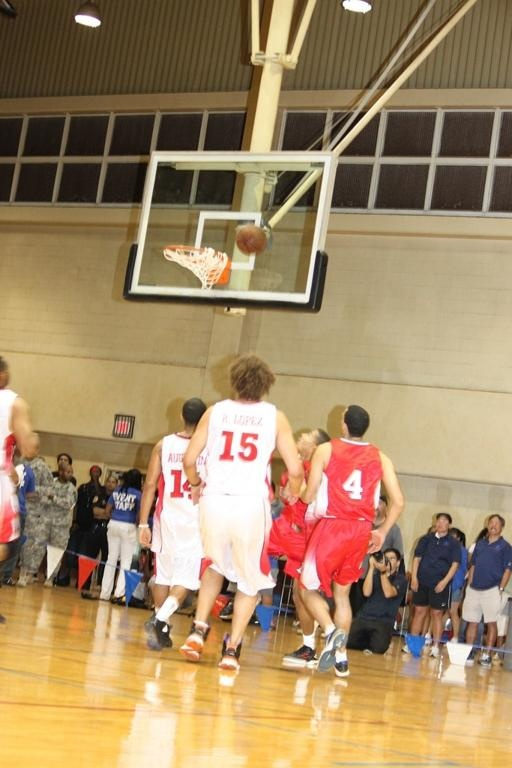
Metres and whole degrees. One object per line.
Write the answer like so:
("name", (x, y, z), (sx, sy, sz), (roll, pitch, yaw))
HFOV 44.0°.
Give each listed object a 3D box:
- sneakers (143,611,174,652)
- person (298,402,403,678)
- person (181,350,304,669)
("sneakers", (-0.577, 1.466, 3.737), (0.143, 0.206, 0.408), (10, -4, -2))
("person", (0.549, 0.983, 3.880), (0.599, 1.236, 0.732), (8, -4, 14))
("person", (-0.102, 0.671, 3.413), (0.639, 1.360, 0.389), (9, -4, 5))
